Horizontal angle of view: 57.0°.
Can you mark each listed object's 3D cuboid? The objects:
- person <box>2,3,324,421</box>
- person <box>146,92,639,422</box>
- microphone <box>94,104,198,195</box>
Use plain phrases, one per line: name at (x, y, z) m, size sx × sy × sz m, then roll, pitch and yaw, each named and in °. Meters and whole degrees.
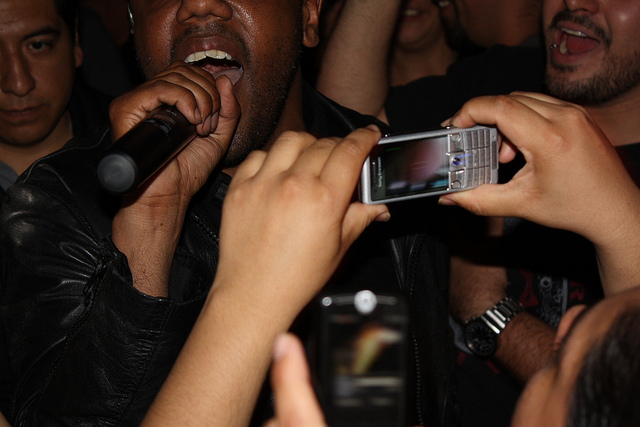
person at (-0.709, -0.436, 2.862) m, size 0.882 × 0.692 × 2.721 m, roll 4°, pitch 79°, yaw 8°
person at (0.268, 0.183, 2.419) m, size 1.353 × 0.561 × 1.437 m, roll 3°, pitch 74°, yaw 4°
microphone at (-0.746, -0.280, 2.316) m, size 0.167 × 0.180 × 0.644 m, roll -12°, pitch 29°, yaw -3°
